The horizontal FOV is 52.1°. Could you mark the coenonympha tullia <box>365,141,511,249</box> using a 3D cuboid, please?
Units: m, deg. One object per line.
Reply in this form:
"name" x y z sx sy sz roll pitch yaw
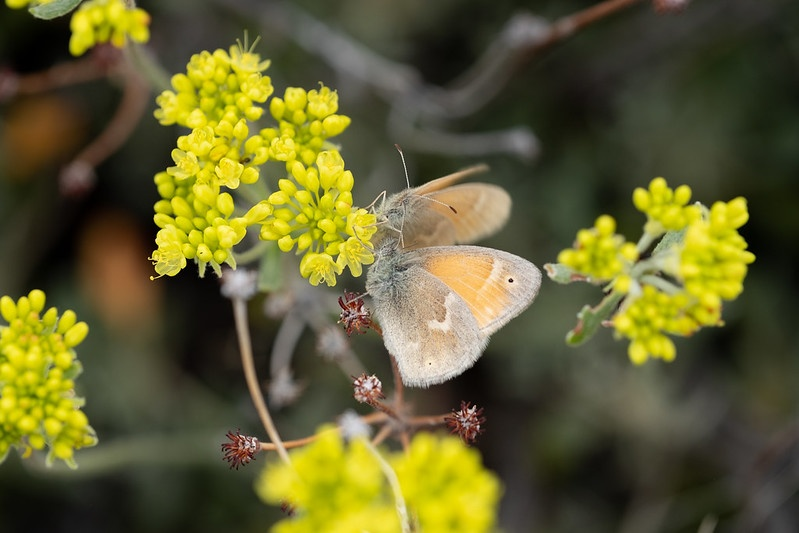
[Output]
"coenonympha tullia" 0.260 -0.473 5.726 0.733 0.727 0.663 -11 17 -38
